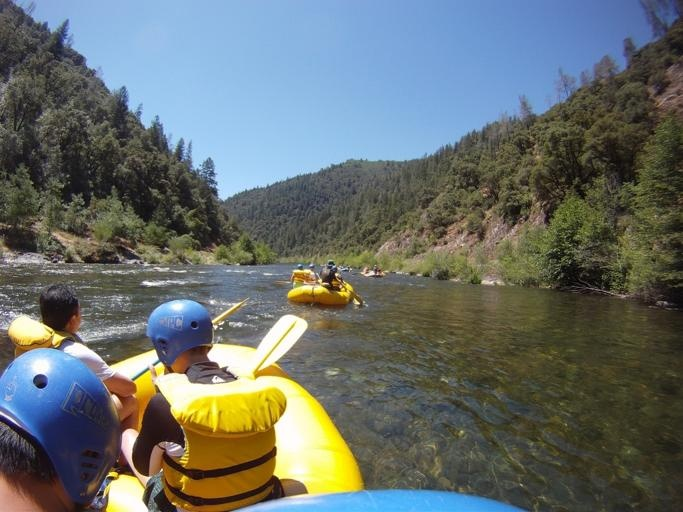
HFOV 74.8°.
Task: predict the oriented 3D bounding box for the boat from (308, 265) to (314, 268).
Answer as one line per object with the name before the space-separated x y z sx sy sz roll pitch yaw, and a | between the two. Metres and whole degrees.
boat | -0.920 0.350 14.167 0.123 0.142 0.119 4 -7 -34

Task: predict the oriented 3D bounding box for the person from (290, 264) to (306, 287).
person | -1.957 0.887 19.816 0.839 1.217 1.093 -2 0 2

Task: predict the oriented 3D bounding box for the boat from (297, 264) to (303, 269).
boat | -1.999 0.586 21.838 0.237 0.272 0.250 4 -10 -29

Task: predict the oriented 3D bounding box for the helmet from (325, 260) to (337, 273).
helmet | -0.248 0.393 14.020 0.298 0.164 0.413 19 -9 38

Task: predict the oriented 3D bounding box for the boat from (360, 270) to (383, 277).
boat | 2.162 1.314 30.685 1.161 0.417 1.612 -3 2 -40

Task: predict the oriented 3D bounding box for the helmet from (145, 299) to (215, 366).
helmet | -1.234 0.624 3.634 0.491 0.518 0.444 -4 -5 18

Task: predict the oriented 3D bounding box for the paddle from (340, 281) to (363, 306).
paddle | 0.356 1.353 15.385 0.075 0.413 1.415 -1 -30 35

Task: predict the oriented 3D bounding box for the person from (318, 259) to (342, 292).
person | -0.408 0.816 19.538 0.585 1.629 1.138 12 39 5

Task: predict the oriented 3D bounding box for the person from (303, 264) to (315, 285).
person | -1.132 0.708 15.679 0.396 0.794 0.516 -2 28 6

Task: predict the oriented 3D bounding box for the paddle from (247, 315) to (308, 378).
paddle | -0.603 0.924 4.265 0.277 0.138 0.922 15 25 11
